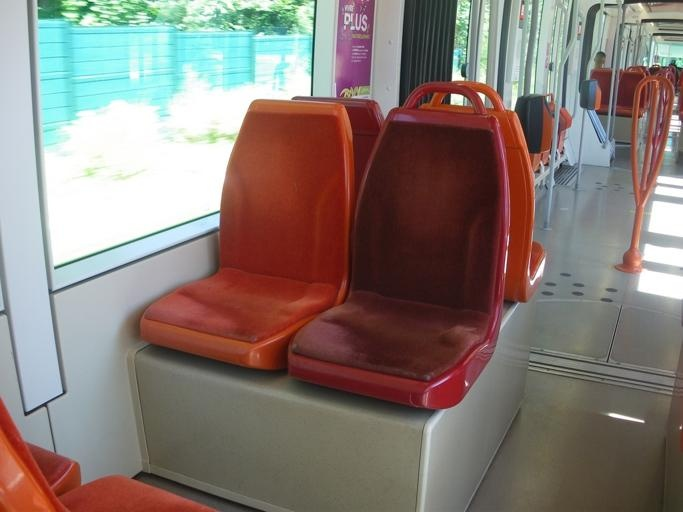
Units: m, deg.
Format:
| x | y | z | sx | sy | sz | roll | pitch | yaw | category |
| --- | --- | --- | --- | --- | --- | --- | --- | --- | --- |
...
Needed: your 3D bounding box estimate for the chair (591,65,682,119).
| x | y | z | sx | sy | sz | roll | pitch | yaw | category |
| --- | --- | --- | --- | --- | --- | --- | --- | --- | --- |
| 4.959 | -2.976 | 9.769 | 0.880 | 0.860 | 2.030 | 13 | 21 | 26 | chair |
